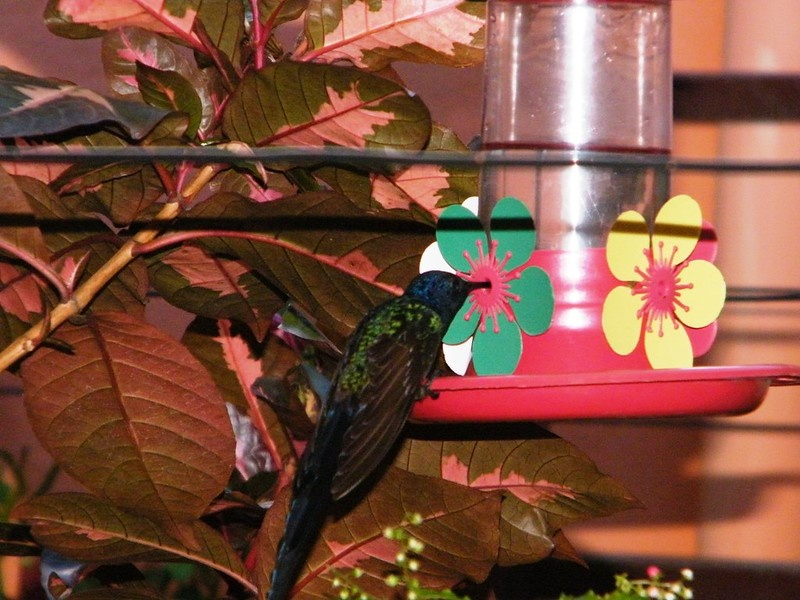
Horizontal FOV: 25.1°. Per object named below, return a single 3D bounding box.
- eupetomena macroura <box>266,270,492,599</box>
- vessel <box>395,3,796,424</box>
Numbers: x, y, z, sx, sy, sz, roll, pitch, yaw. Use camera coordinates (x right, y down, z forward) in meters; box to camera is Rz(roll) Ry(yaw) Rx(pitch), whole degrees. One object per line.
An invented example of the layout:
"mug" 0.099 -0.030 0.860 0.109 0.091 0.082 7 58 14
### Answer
"eupetomena macroura" -0.054 0.251 3.236 0.200 0.598 0.398 24 -47 -8
"vessel" 0.364 -0.156 3.498 0.826 0.815 0.792 4 -5 -38
